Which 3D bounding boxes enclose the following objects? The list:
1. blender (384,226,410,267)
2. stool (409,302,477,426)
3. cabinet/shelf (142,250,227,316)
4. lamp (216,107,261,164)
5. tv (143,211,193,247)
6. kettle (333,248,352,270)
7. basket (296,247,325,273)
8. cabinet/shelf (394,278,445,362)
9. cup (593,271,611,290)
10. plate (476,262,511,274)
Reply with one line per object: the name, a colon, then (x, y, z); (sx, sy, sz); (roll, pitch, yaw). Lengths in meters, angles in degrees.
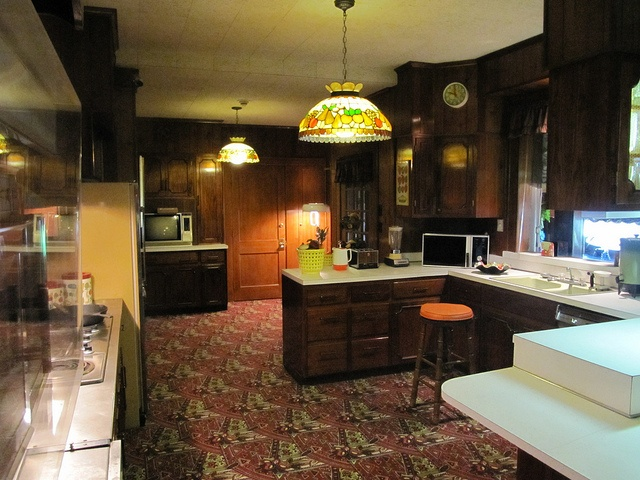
blender: (0.736, 0.061, 4.769); (0.213, 0.355, 0.319); (-1, 7, -3)
stool: (0.984, 0.852, 3.628); (0.422, 0.640, 0.444); (-8, -8, -7)
cabinet/shelf: (-1.743, 0.534, 6.731); (1.164, 0.840, 0.667); (-3, 1, -6)
lamp: (-0.969, -1.244, 5.856); (0.654, 0.769, 0.725); (0, 2, -9)
tv: (-1.988, -0.156, 6.518); (0.686, 0.502, 0.375); (0, -2, -18)
kettle: (0.191, 0.177, 4.585); (0.197, 0.204, 0.137); (0, -1, -13)
basket: (-0.067, 0.168, 4.281); (0.200, 0.157, 0.204); (0, -4, 9)
cabinet/shelf: (0.812, 0.685, 4.567); (0.562, 0.781, 0.518); (-2, 7, -20)
cup: (1.971, 0.284, 3.515); (0.119, 0.115, 0.119); (-1, 7, 0)
plate: (1.509, 0.246, 4.310); (0.271, 0.083, 0.181); (1, 6, 15)
